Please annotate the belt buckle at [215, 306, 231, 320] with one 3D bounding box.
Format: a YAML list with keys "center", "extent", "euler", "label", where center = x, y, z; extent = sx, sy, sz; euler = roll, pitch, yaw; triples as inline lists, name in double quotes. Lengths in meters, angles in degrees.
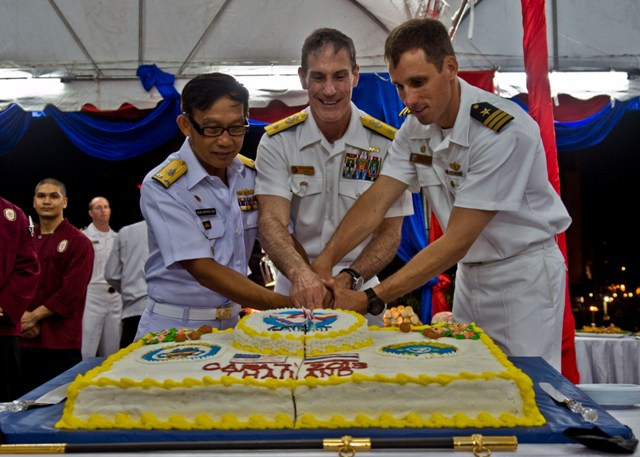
- center: [-0.629, 0.541, 3.942]
  extent: [0.014, 0.068, 0.101]
  euler: [0, 2, 44]
  label: "belt buckle"

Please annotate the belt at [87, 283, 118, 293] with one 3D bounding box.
- center: [-2.898, 0.776, 8.140]
  extent: [0.259, 0.073, 0.261]
  euler: [-8, -9, 40]
  label: "belt"

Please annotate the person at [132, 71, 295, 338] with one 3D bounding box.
- center: [-0.738, -0.131, 3.886]
  extent: [0.864, 1.695, 0.692]
  euler: [-3, 10, -18]
  label: "person"
